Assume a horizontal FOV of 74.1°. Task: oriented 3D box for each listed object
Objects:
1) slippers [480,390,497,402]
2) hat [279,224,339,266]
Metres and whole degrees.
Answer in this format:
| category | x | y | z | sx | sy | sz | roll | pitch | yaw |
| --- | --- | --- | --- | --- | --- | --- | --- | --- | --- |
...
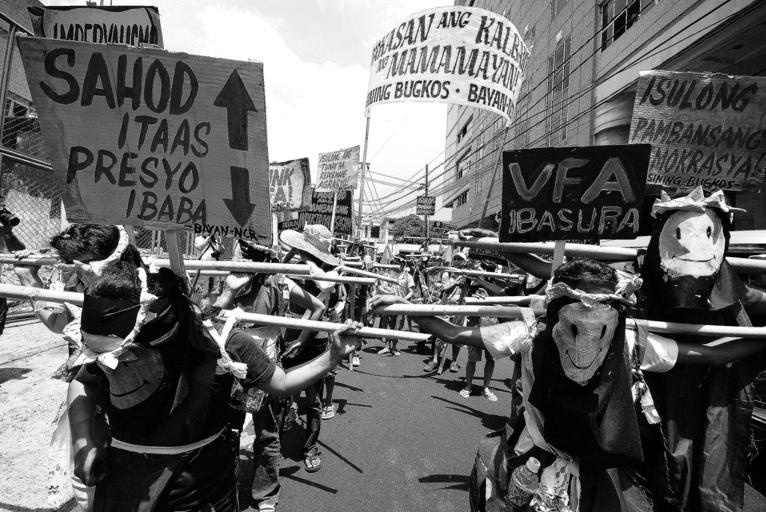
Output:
| category | x | y | z | sx | sy | sz | roll | pitch | yaw |
| --- | --- | --- | --- | --- | --- | --- | --- | --- | --- |
| slippers | 1.760 | 2.290 | 8.360 | 0.110 | 0.110 | 0.257 | -3 | -1 | -27 |
| hat | -0.905 | -0.136 | 6.293 | 0.551 | 0.234 | 0.583 | 20 | 23 | -26 |
